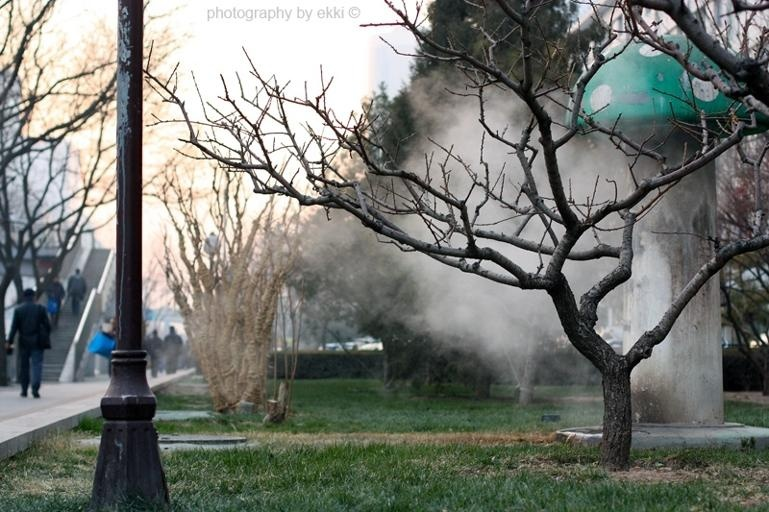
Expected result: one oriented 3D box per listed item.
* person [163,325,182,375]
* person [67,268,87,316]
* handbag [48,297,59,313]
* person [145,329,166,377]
[{"bbox_3d":[-6.572,2.821,42.372,0.532,1.425,1.553,1,-11,-6],"label":"person"},{"bbox_3d":[-8.836,1.041,39.137,0.478,1.472,1.092,2,-11,-14],"label":"person"},{"bbox_3d":[-8.783,1.295,36.138,0.279,0.194,0.376,14,-52,5],"label":"handbag"},{"bbox_3d":[-7.000,2.929,41.440,0.516,1.665,2.335,1,-11,-9],"label":"person"}]
